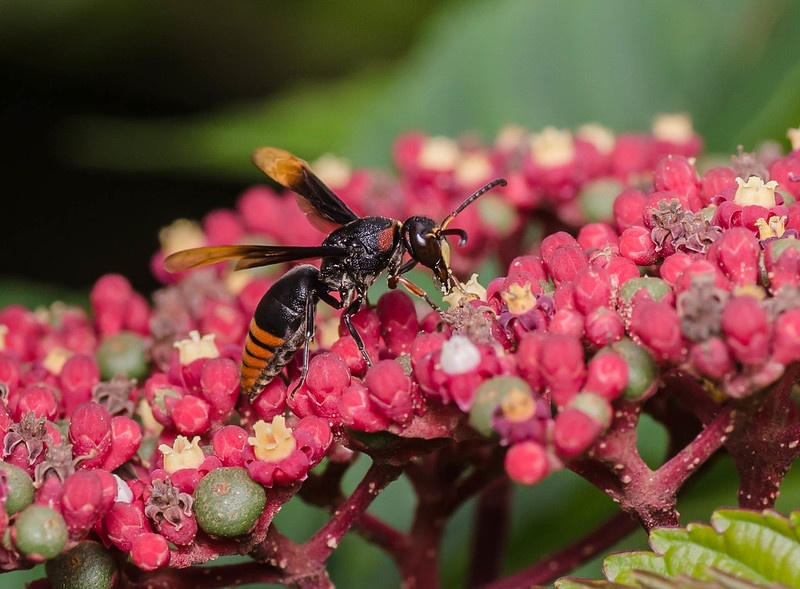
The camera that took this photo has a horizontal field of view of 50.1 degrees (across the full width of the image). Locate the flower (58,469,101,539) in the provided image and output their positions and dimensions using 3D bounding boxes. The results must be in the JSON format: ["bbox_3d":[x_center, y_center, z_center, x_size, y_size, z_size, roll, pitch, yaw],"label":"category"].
[{"bbox_3d":[-0.384,0.251,1.034,0.043,0.083,0.042,1,40,-37],"label":"flower"}]

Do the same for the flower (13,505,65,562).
[{"bbox_3d":[-0.425,0.282,1.006,0.055,0.062,0.069,2,85,5],"label":"flower"}]

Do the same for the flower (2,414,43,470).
[{"bbox_3d":[-0.495,0.190,1.124,0.055,0.032,0.068,3,44,15],"label":"flower"}]

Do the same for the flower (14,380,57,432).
[{"bbox_3d":[-0.516,0.156,1.240,0.057,0.073,0.060,4,13,6],"label":"flower"}]

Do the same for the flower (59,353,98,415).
[{"bbox_3d":[-0.500,0.146,1.342,0.043,0.045,0.103,4,83,-4],"label":"flower"}]
